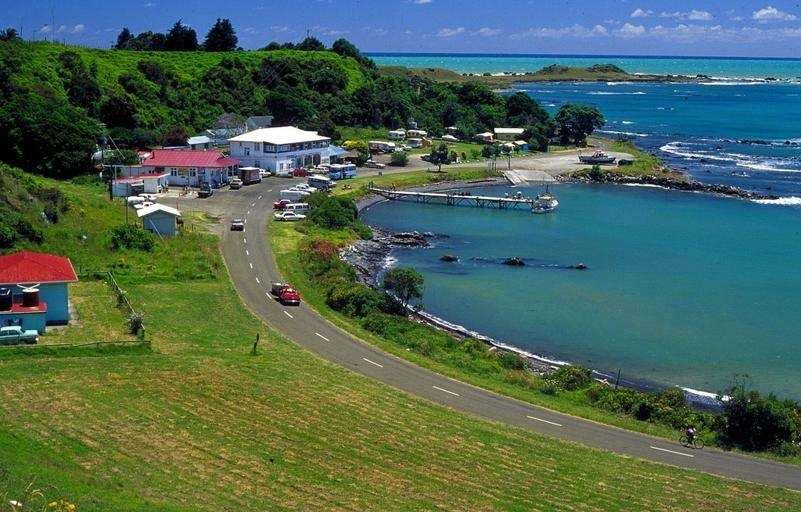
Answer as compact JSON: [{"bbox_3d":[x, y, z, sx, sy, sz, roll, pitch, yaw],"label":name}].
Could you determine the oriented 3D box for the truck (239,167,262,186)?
[{"bbox_3d":[-18.741,-10.023,106.050,1.764,1.584,2.874,0,5,10],"label":"truck"}]

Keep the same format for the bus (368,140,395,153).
[{"bbox_3d":[-3.006,-17.369,134.903,3.905,1.415,1.830,2,25,8],"label":"bus"}]

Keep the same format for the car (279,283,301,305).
[{"bbox_3d":[-9.379,3.433,71.770,1.750,1.291,1.871,-12,17,-35],"label":"car"}]

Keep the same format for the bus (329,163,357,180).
[{"bbox_3d":[-7.999,-11.327,115.759,0.892,2.036,4.899,8,17,37],"label":"bus"}]

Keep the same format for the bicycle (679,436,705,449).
[{"bbox_3d":[20.186,12.909,58.581,1.567,0.817,0.711,1,5,18],"label":"bicycle"}]

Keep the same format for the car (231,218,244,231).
[{"bbox_3d":[-16.703,-3.154,86.998,1.501,0.933,2.229,-1,2,-10],"label":"car"}]

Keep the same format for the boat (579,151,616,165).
[{"bbox_3d":[32.440,-15.931,139.225,5.319,1.878,2.863,-2,17,-11],"label":"boat"}]

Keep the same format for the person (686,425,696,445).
[{"bbox_3d":[20.108,12.432,58.610,0.611,0.999,0.698,0,15,12],"label":"person"}]

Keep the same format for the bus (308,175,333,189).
[{"bbox_3d":[-10.019,-9.203,106.111,2.660,1.239,1.558,3,18,7],"label":"bus"}]
